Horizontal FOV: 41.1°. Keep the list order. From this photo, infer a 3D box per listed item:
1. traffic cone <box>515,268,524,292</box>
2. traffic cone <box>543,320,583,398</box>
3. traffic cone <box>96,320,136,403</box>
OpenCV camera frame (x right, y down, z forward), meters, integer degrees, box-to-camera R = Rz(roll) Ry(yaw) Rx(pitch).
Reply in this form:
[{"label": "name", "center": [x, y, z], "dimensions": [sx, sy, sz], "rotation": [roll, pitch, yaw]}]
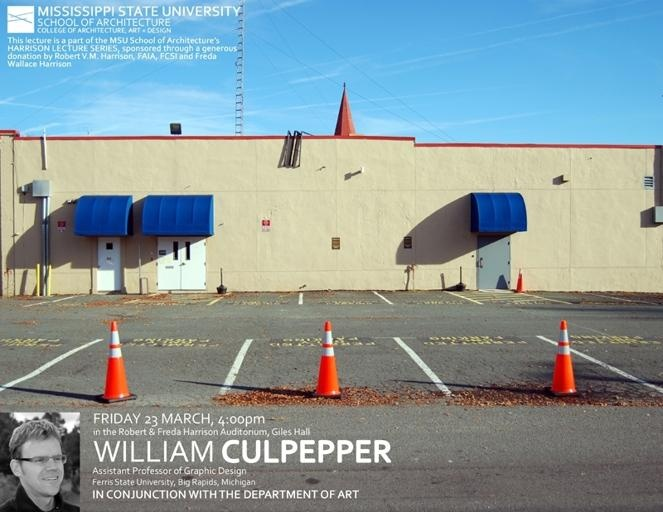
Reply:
[{"label": "traffic cone", "center": [7.091, 0.961, 33.564], "dimensions": [0.324, 0.733, 0.870], "rotation": [4, 12, 11]}, {"label": "traffic cone", "center": [4.136, 1.818, 15.775], "dimensions": [0.464, 1.239, 0.639], "rotation": [4, 12, 14]}, {"label": "traffic cone", "center": [-3.761, 1.835, 15.423], "dimensions": [0.577, 1.269, 0.662], "rotation": [-2, 12, -15]}]
